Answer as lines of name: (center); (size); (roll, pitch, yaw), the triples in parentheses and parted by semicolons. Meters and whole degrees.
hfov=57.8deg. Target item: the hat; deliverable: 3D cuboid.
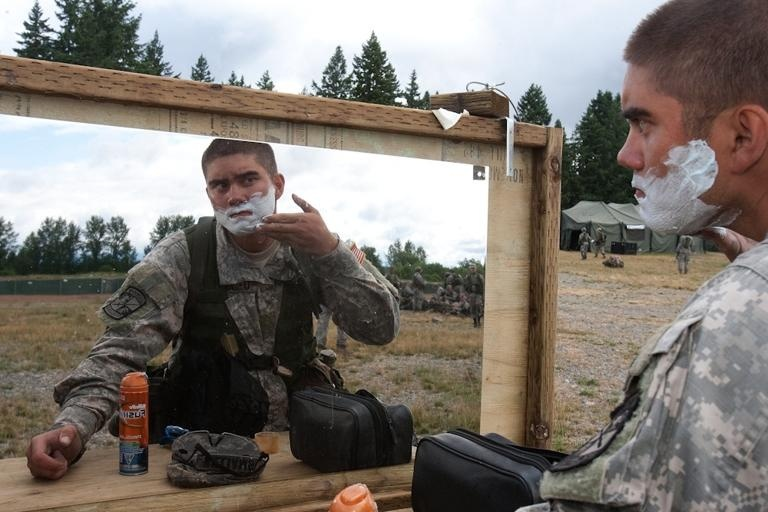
hat: (-0.947, 1.133, 3.900); (0.397, 0.179, 0.306); (7, 6, -21)

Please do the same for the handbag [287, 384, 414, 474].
handbag: (-0.223, 1.068, 4.374); (0.557, 0.471, 0.701); (5, -3, -38)

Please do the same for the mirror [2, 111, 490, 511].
mirror: (-1.048, 0.638, 4.448); (2.038, 2.822, 1.596); (-3, 1, -24)
